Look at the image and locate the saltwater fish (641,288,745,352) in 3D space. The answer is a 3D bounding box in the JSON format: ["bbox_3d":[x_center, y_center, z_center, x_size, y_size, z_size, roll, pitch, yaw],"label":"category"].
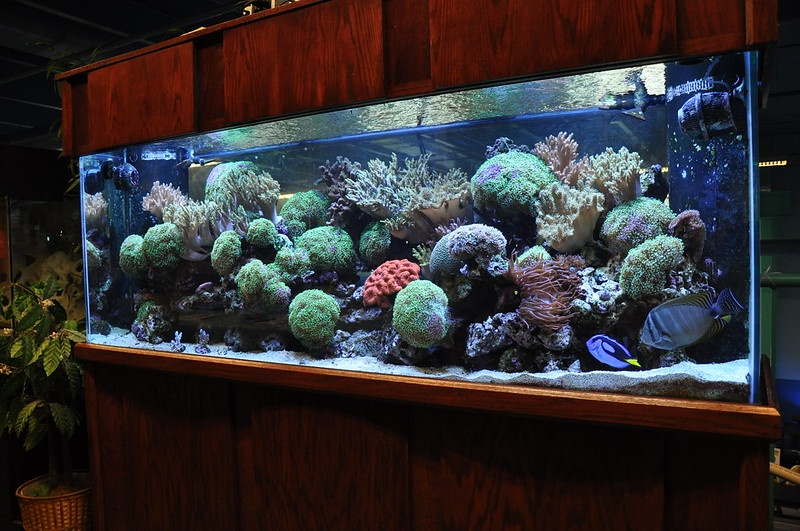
[{"bbox_3d":[1.258,0.208,2.907,0.360,0.271,0.337,3,4,7],"label":"saltwater fish"}]

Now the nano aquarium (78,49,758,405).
[{"bbox_3d":[0.177,-0.196,3.144,3.835,1.697,0.238,0,4,24],"label":"nano aquarium"}]
